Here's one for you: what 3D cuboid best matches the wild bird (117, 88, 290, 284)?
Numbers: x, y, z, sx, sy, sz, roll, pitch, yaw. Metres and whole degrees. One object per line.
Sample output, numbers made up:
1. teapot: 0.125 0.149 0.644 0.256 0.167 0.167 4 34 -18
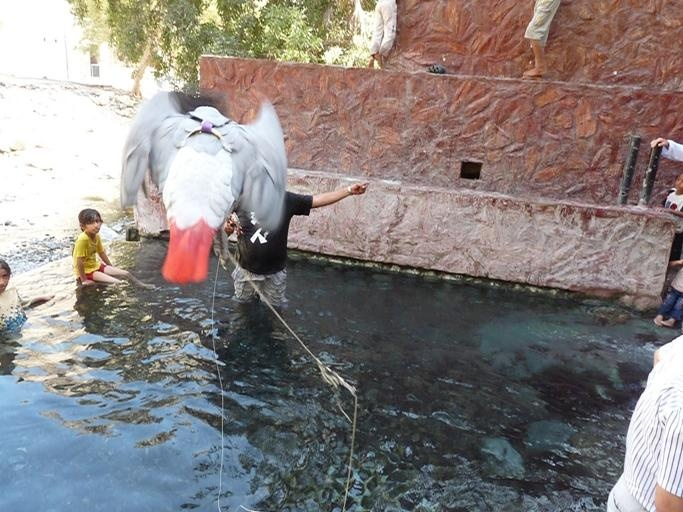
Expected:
1. wild bird: -0.795 -0.480 3.100 0.770 1.001 0.946 17 20 40
